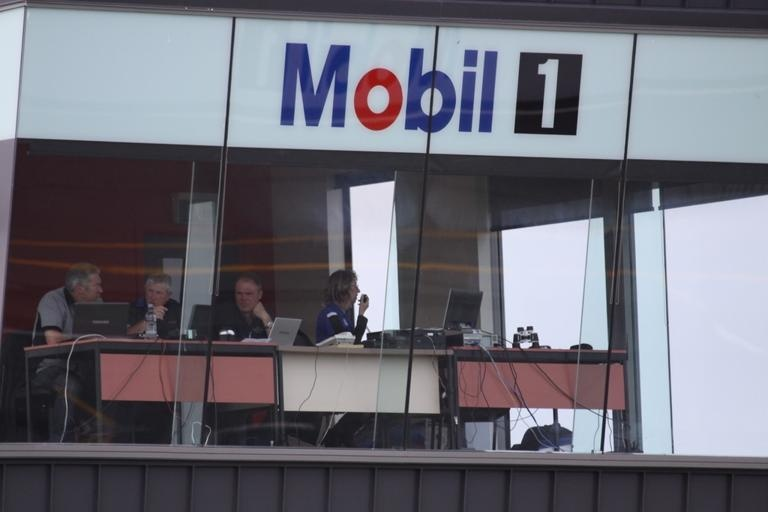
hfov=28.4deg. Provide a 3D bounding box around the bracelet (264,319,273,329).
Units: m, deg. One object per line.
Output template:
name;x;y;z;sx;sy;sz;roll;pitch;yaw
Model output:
bracelet;-1.886;1.132;25.041;0.133;0.069;0.179;-17;-37;-36

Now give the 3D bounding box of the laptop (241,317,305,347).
laptop;-1.696;1.211;23.792;0.555;0.379;0.550;-1;-9;40

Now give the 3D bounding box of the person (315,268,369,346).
person;-0.673;1.135;24.857;0.918;1.933;0.858;-1;5;-8

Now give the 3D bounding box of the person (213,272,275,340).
person;-2.301;0.986;25.358;1.185;1.477;0.748;2;7;-10
